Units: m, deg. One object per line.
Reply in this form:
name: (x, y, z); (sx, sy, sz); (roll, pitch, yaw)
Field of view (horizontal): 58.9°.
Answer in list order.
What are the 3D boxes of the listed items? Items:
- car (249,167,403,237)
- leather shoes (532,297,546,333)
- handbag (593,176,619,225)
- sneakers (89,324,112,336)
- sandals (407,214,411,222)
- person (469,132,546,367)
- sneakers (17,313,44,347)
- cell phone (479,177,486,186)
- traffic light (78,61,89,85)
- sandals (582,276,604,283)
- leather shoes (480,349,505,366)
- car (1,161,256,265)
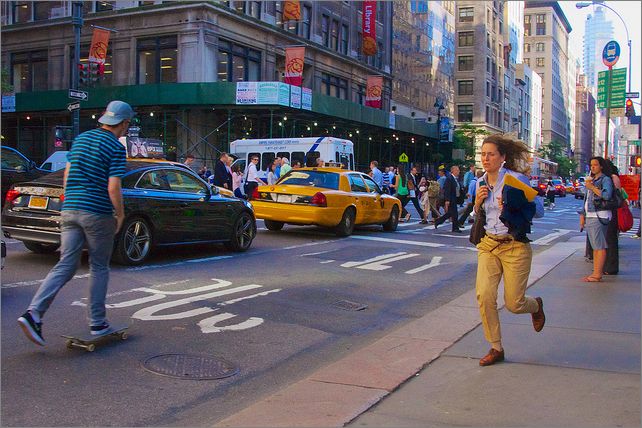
car: (0.248, -0.398, 16.717); (1.890, 1.928, 4.306); (7, 8, 43)
leather shoes: (2.523, 1.190, 6.525); (0.146, 0.428, 0.188); (8, 16, 42)
handbag: (5.198, -0.367, 10.270); (0.441, 0.646, 0.334); (5, 7, 26)
sneakers: (-2.558, 1.343, 6.603); (0.099, 0.115, 0.276); (3, 6, 30)
sandals: (3.545, 0.164, 23.208); (0.146, 0.195, 0.473); (-7, 13, 23)
person: (2.069, 0.374, 6.257); (0.809, 2.473, 0.506); (0, 6, -17)
sneakers: (-3.166, 1.246, 6.153); (0.229, 0.379, 0.192); (-2, 7, -28)
cell phone: (1.806, -0.360, 6.309); (0.053, 0.080, 0.085); (10, 31, 20)
traffic light: (-8.798, -5.226, 20.914); (0.342, 0.771, 0.670); (-1, 7, -24)
sandals: (4.895, 1.182, 10.180); (0.233, 0.082, 0.147); (3, -1, 12)
leather shoes: (1.855, 1.551, 6.105); (0.353, 0.153, 0.116); (0, -9, -37)
car: (-3.469, 0.066, 11.525); (2.074, 1.488, 4.681); (2, 3, 34)
